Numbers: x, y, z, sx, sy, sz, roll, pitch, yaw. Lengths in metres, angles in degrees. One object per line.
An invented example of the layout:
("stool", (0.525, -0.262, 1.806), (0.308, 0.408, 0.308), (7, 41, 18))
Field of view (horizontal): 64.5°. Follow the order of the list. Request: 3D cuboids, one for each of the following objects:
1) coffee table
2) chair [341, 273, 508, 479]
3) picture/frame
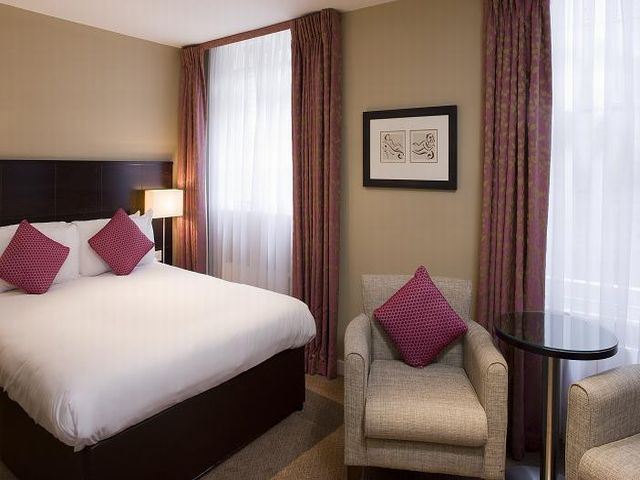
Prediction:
("coffee table", (1.534, 1.037, 3.806), (0.815, 1.619, 0.921), (1, 5, 11))
("chair", (0.671, 1.084, 3.478), (0.999, 1.083, 0.853), (-1, 11, 5))
("picture/frame", (0.790, -0.788, 4.295), (0.660, 0.665, 0.057), (1, 4, 32))
